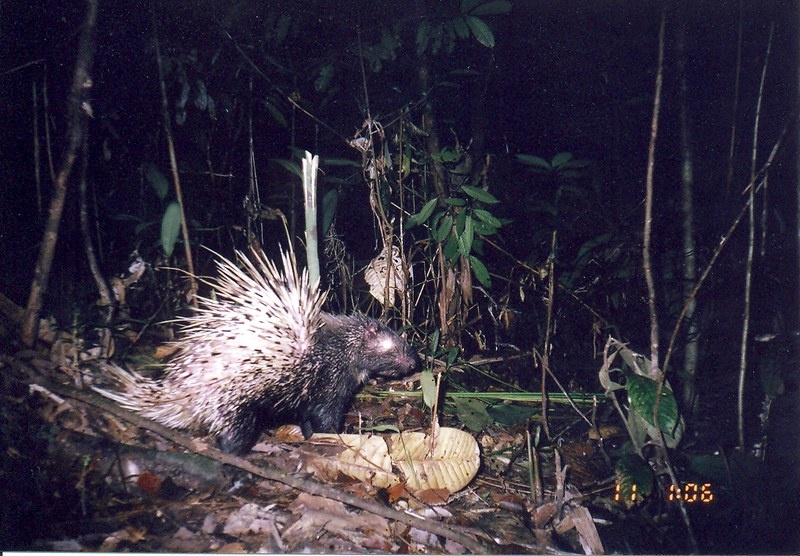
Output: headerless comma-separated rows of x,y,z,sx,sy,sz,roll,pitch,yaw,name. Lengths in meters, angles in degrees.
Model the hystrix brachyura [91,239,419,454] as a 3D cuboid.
-0.626,0.310,3.345,1.396,0.920,0.351,1,7,-19,hystrix brachyura
